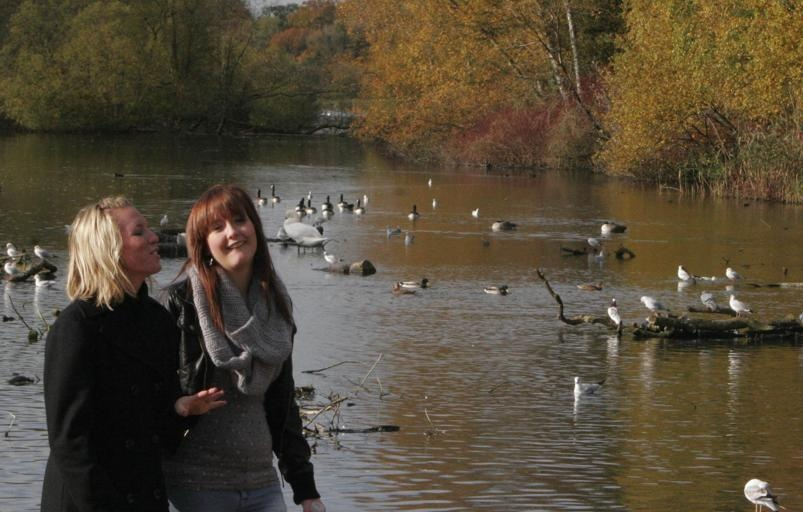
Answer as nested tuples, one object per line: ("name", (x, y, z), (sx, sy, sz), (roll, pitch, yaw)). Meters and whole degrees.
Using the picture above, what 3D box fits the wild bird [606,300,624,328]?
("wild bird", (7.924, 2.092, 49.304), (0.487, 0.768, 1.171), (-2, 23, -5))

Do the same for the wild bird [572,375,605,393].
("wild bird", (6.281, 4.343, 45.369), (1.054, 0.642, 1.011), (-2, 0, 7))

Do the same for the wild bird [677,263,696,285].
("wild bird", (11.338, 0.771, 54.361), (0.457, 0.833, 0.647), (-29, -42, -3))

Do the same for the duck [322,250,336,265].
("duck", (-2.932, 0.163, 55.886), (0.359, 0.536, 0.825), (15, 2, -36))

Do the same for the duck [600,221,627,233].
("duck", (9.766, -1.294, 62.624), (1.069, 0.529, 0.692), (3, -23, 4))

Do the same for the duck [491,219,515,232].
("duck", (4.720, -1.399, 63.339), (0.659, 0.246, 0.721), (-1, -4, 2))
